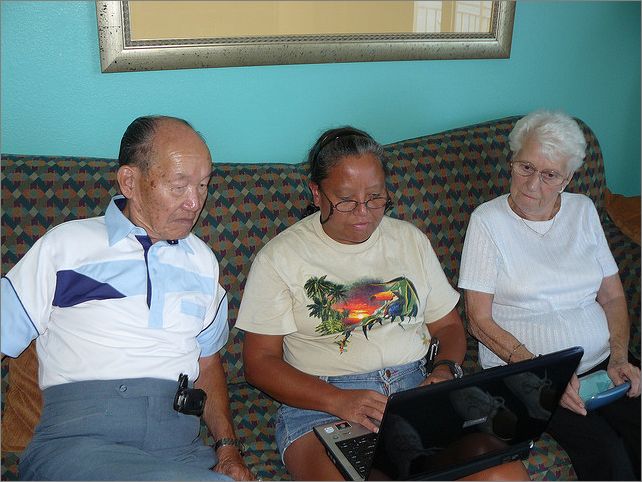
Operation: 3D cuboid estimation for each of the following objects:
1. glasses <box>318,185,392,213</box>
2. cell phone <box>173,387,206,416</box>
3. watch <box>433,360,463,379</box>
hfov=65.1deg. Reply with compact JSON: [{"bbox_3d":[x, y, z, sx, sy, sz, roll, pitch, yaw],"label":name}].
[{"bbox_3d":[0.151,-0.158,1.911,0.300,0.080,0.109,-4,14,-4],"label":"glasses"},{"bbox_3d":[-0.487,0.529,1.655,0.101,0.102,0.085,10,-2,-20],"label":"cell phone"},{"bbox_3d":[0.532,0.484,1.895,0.083,0.051,0.106,6,27,-48],"label":"watch"}]
